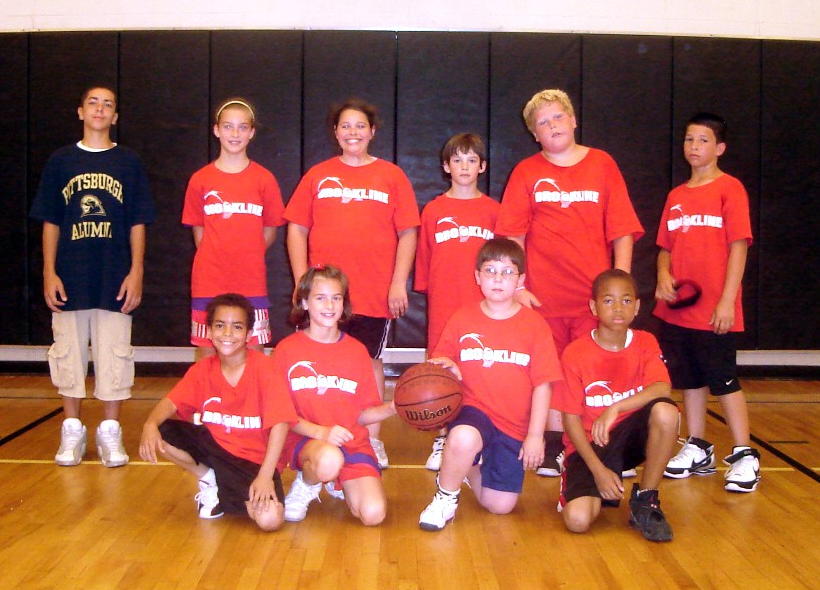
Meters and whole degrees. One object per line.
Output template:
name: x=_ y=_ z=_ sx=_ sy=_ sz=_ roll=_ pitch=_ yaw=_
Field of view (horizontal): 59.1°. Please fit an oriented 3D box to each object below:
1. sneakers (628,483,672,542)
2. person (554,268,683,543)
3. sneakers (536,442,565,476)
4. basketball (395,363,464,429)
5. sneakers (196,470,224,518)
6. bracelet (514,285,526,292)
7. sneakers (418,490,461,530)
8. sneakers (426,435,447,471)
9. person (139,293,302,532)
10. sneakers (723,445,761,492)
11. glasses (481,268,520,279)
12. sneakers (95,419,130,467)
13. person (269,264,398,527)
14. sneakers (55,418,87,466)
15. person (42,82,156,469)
sneakers: x=1.109 y=1.020 z=3.351 sx=0.110 sy=0.126 sz=0.304 roll=-1 pitch=8 yaw=-7
person: x=1.007 y=0.496 z=3.501 sx=0.554 sy=1.178 sz=0.640 roll=3 pitch=13 yaw=12
sneakers: x=0.749 y=0.905 z=3.960 sx=0.166 sy=0.176 sz=0.202 roll=-2 pitch=-15 yaw=8
basketball: x=0.085 y=0.456 z=3.546 sx=0.329 sy=0.336 sz=0.306 roll=12 pitch=8 yaw=-1
sneakers: x=-0.959 y=0.952 z=3.466 sx=0.120 sy=0.236 sz=0.073 roll=-2 pitch=13 yaw=-9
bracelet: x=0.581 y=-0.037 z=3.809 sx=0.040 sy=0.026 sz=0.038 roll=-6 pitch=-13 yaw=30
sneakers: x=0.134 y=1.007 z=3.408 sx=0.086 sy=0.175 sz=0.165 roll=12 pitch=16 yaw=41
sneakers: x=0.152 y=0.903 z=4.113 sx=0.083 sy=0.092 sz=0.232 roll=2 pitch=1 yaw=7
person: x=-0.879 y=0.540 z=3.485 sx=0.675 sy=1.038 sz=0.472 roll=2 pitch=13 yaw=8
sneakers: x=1.770 y=0.928 z=3.845 sx=0.146 sy=0.130 sz=0.296 roll=-3 pitch=7 yaw=26
glasses: x=0.439 y=-0.113 z=3.545 sx=0.161 sy=0.048 sz=0.036 roll=1 pitch=12 yaw=2
sneakers: x=-1.687 y=0.840 z=4.077 sx=0.126 sy=0.154 sz=0.342 roll=-3 pitch=5 yaw=-28
person: x=-0.336 y=0.495 z=3.533 sx=0.781 sy=1.130 sz=0.644 roll=9 pitch=11 yaw=29
sneakers: x=-1.941 y=0.830 z=4.117 sx=0.147 sy=0.243 sz=0.239 roll=-3 pitch=12 yaw=-15
person: x=-1.840 y=-0.120 z=4.149 sx=0.635 sy=2.098 sz=0.730 roll=0 pitch=13 yaw=-4
